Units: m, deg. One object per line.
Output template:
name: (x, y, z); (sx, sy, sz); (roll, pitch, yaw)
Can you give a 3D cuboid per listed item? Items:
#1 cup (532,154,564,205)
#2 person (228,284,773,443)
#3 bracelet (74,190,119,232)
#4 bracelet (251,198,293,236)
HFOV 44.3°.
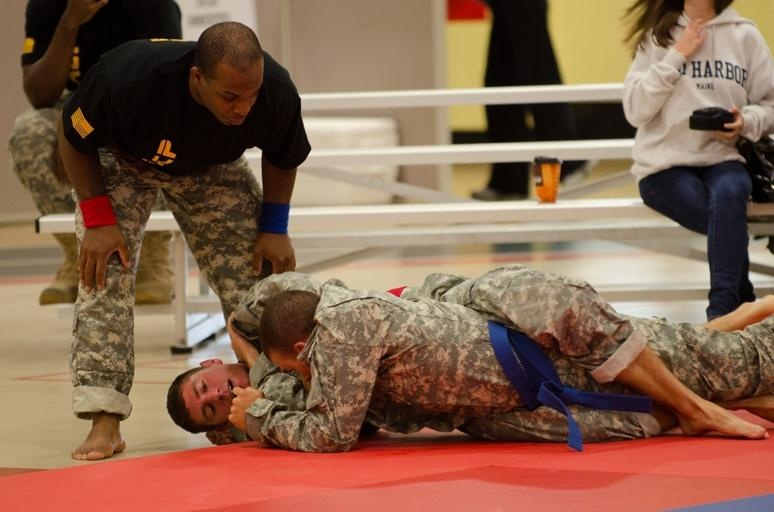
cup: (0.791, -0.380, 4.692); (0.127, 0.222, 0.217); (-1, 9, 8)
person: (0.485, 0.398, 3.497); (1.623, 0.467, 0.757); (13, -9, 13)
bracelet: (-1.106, -0.171, 3.632); (0.144, 0.105, 0.142); (-14, 3, -40)
bracelet: (-0.471, -0.159, 3.905); (0.152, 0.132, 0.135); (4, 8, -21)
